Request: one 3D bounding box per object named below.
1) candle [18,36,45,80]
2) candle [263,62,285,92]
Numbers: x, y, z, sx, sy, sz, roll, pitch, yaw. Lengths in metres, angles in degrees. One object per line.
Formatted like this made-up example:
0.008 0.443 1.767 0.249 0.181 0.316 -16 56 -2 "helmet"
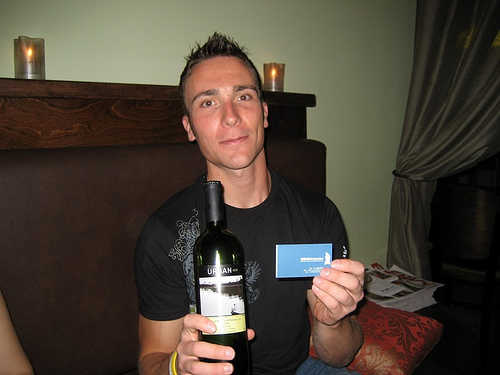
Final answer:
-1.001 -0.587 1.828 0.119 0.192 0.099 -7 12 -30 "candle"
0.146 -0.683 2.470 0.158 0.187 0.161 -2 11 -11 "candle"
